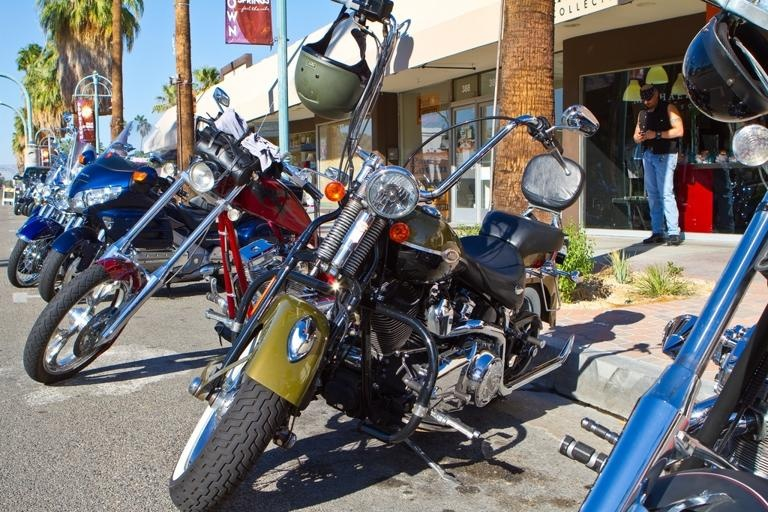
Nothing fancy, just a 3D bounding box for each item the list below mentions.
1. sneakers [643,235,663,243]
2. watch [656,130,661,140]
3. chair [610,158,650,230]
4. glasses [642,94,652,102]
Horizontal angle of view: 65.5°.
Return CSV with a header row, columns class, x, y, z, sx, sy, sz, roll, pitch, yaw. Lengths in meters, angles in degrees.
class,x,y,z,sx,sy,sz,roll,pitch,yaw
sneakers,4.858,-0.311,10.833,0.315,0.156,0.132,3,10,13
watch,4.819,-2.116,10.523,0.072,0.117,0.118,6,4,14
chair,5.107,-1.277,12.385,0.539,1.137,0.586,-3,5,2
glasses,4.702,-2.832,10.711,0.162,0.068,0.181,-36,-1,13
